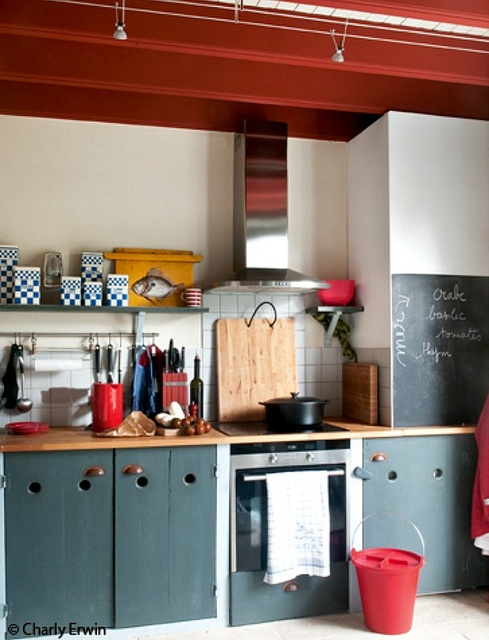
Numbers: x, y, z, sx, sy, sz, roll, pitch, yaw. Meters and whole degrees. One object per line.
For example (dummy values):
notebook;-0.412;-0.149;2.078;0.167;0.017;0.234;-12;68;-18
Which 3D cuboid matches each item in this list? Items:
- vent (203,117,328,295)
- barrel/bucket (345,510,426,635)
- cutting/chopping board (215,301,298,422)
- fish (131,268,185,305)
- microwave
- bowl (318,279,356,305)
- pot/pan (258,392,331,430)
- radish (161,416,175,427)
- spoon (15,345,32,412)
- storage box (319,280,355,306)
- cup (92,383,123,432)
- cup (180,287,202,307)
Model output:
vent;0.114;-0.673;3.809;0.388;0.896;0.423;-2;0;-1
barrel/bucket;0.695;1.312;3.251;0.341;0.477;0.295;-2;0;5
cutting/chopping board;0.051;0.267;3.893;0.709;0.954;0.139;2;-9;-23
fish;-0.510;-0.193;3.832;0.245;0.187;0.130;4;1;-20
microwave;0.160;1.054;3.595;0.788;0.885;0.748;1;2;-31
bowl;0.545;-0.160;4.014;0.151;0.118;0.182;0;-10;-2
pot/pan;0.259;0.488;3.663;0.343;0.181;0.327;5;-1;-8
radish;-0.387;0.511;3.382;0.047;0.020;0.067;-1;21;-2
spoon;-1.189;0.320;3.589;0.079;0.376;0.141;-2;0;-17
storage box;0.551;-0.146;3.920;0.153;0.120;0.185;0;-11;-3
cup;-0.705;0.447;3.417;0.152;0.251;0.106;-2;0;-12
cup;-0.304;-0.128;3.817;0.097;0.089;0.123;5;-9;-41
